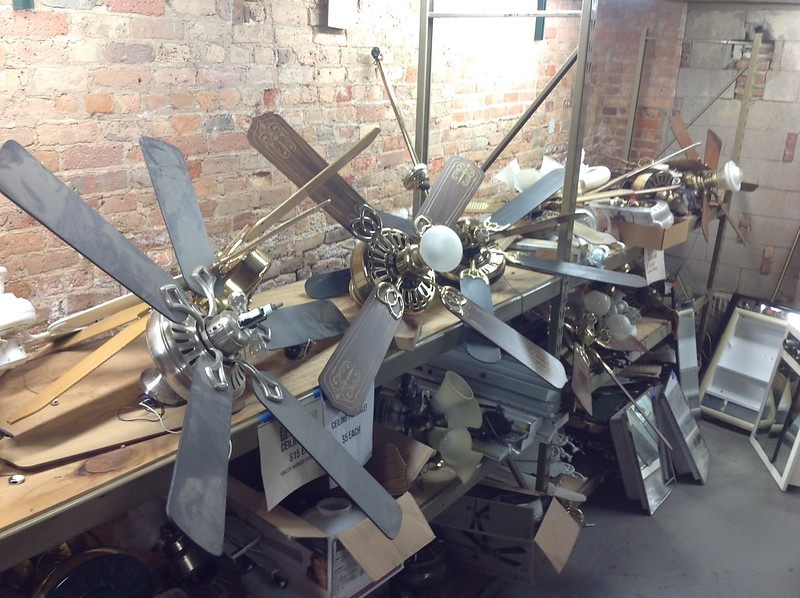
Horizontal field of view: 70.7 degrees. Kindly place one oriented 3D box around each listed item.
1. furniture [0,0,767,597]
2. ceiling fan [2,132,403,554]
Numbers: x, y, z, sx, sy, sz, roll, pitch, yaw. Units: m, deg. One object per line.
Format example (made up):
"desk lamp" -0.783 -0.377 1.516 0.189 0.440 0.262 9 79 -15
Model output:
"furniture" -0.307 -0.024 2.217 1.873 1.804 1.183 -22 7 -42
"ceiling fan" -0.378 0.080 1.257 0.657 0.860 0.701 -20 32 -36
